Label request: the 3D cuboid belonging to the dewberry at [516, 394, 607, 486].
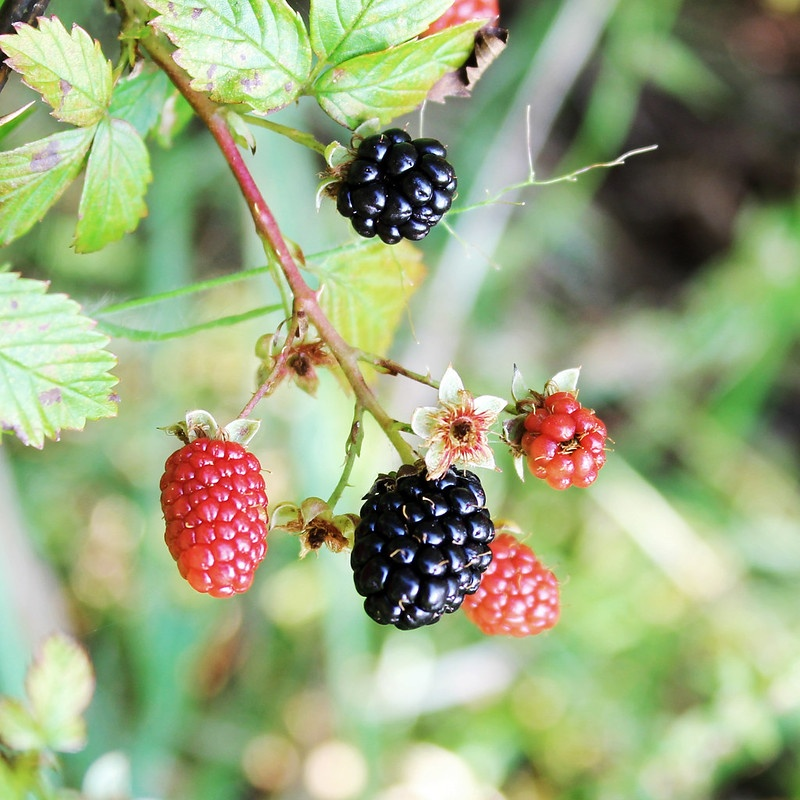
[{"bbox_3d":[0.180,0.036,1.014,0.093,0.078,0.100,-8,-86,9],"label":"dewberry"}]
